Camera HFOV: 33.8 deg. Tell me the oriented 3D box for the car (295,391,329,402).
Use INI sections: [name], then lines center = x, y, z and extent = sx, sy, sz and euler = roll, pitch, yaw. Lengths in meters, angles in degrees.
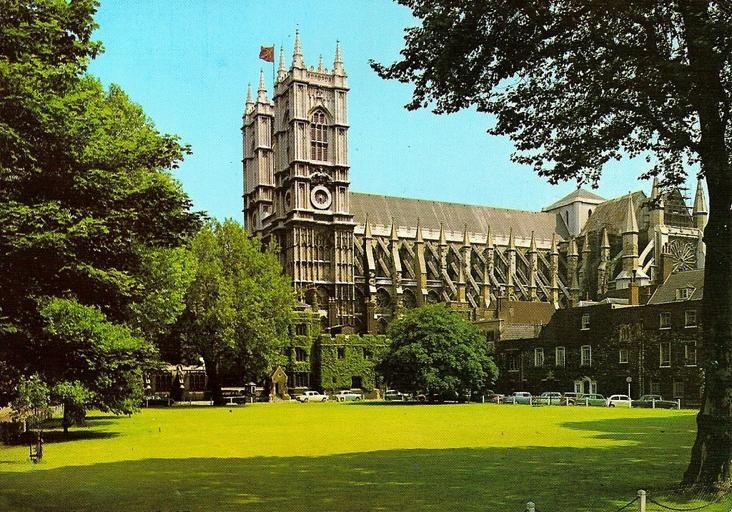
[car]
center = -4.649, 12.095, 103.487
extent = 1.883, 0.733, 1.080
euler = -1, -1, -16
